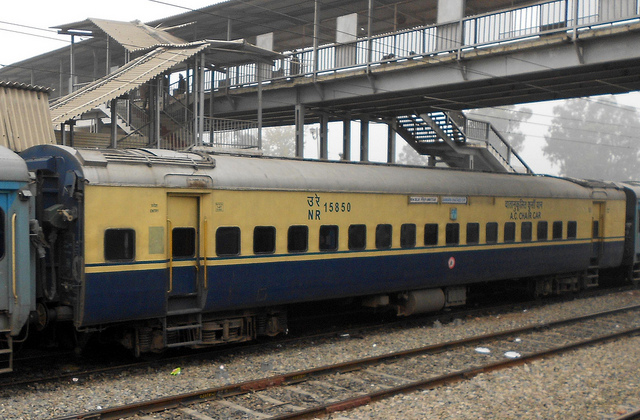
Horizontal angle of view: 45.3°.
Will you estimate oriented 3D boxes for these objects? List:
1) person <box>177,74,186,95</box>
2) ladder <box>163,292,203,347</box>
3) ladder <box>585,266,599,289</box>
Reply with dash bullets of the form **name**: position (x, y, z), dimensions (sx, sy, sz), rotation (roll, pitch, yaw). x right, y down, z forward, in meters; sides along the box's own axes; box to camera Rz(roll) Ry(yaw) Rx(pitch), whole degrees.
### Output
- **person**: position (-6.826, -6.130, 37.468), dimensions (0.327, 0.926, 0.419), rotation (0, 13, -3)
- **ladder**: position (-3.741, 2.861, 20.536), dimensions (0.821, 1.402, 1.501), rotation (1, -1, 43)
- **ladder**: position (10.472, 2.551, 29.718), dimensions (0.182, 0.941, 1.073), rotation (2, 1, 41)
